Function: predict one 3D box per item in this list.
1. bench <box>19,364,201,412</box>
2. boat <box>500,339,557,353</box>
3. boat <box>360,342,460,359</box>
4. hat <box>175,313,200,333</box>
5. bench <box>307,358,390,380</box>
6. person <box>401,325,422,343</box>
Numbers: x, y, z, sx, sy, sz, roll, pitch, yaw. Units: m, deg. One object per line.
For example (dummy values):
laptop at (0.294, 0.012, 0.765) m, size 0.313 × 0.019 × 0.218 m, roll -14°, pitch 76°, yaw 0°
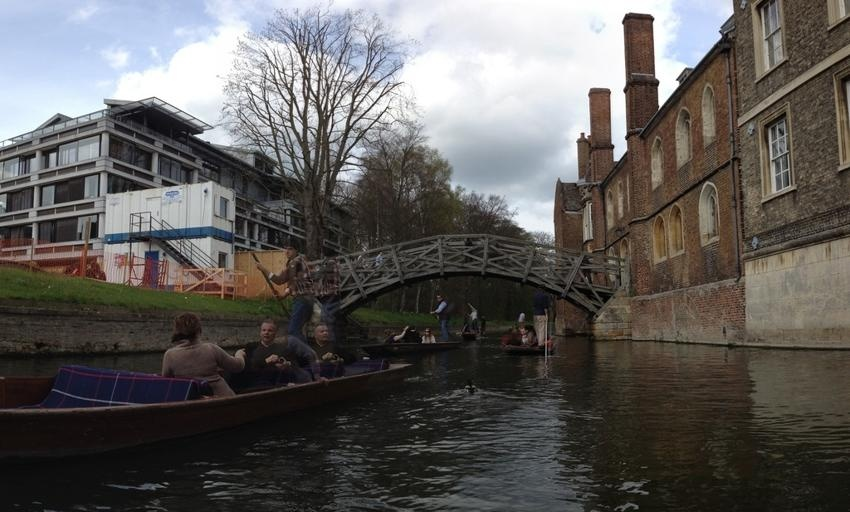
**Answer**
bench at (-5.975, 2.545, 14.209) m, size 1.834 × 0.460 × 1.331 m, roll 3°, pitch 0°, yaw 1°
boat at (3.690, 3.223, 25.755) m, size 1.339 × 0.286 × 0.809 m, roll 9°, pitch -15°, yaw -42°
boat at (-0.583, 3.538, 27.281) m, size 1.038 × 0.357 × 4.564 m, roll -6°, pitch -9°, yaw 35°
hat at (-4.696, 1.333, 14.256) m, size 0.373 × 0.405 × 0.478 m, roll 3°, pitch -3°, yaw -12°
bench at (-1.714, 2.723, 17.588) m, size 0.499 × 0.268 × 1.915 m, roll -10°, pitch -10°, yaw 39°
person at (-0.588, 3.292, 29.822) m, size 0.848 × 0.746 × 1.998 m, roll -1°, pitch 8°, yaw -1°
